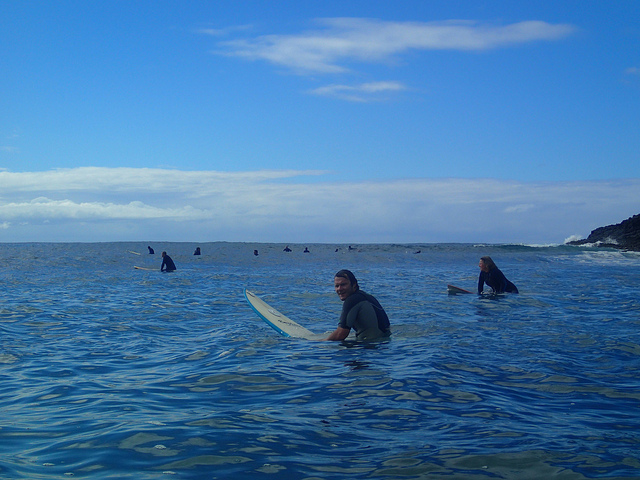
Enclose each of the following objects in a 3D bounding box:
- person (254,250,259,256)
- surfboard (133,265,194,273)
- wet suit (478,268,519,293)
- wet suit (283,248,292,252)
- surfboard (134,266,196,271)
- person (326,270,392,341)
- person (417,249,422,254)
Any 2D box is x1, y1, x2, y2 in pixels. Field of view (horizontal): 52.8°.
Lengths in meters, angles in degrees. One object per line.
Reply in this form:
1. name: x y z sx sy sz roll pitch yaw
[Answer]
1. person: -7.627 1.561 75.796 0.679 0.681 0.385 -8 1 44
2. surfboard: -9.217 1.693 37.724 3.601 0.200 0.372 1 35 20
3. wet suit: 5.431 1.293 20.321 0.914 0.880 1.180 -5 2 26
4. wet suit: -5.081 1.469 95.314 0.949 0.648 2.185 -4 -1 -4
5. surfboard: -9.274 1.681 38.379 4.238 0.194 0.350 1 10 6
6. person: 0.737 1.344 13.175 1.226 1.076 0.492 -8 2 -37
7. person: 13.958 1.649 93.394 0.976 0.578 2.164 6 -3 9
